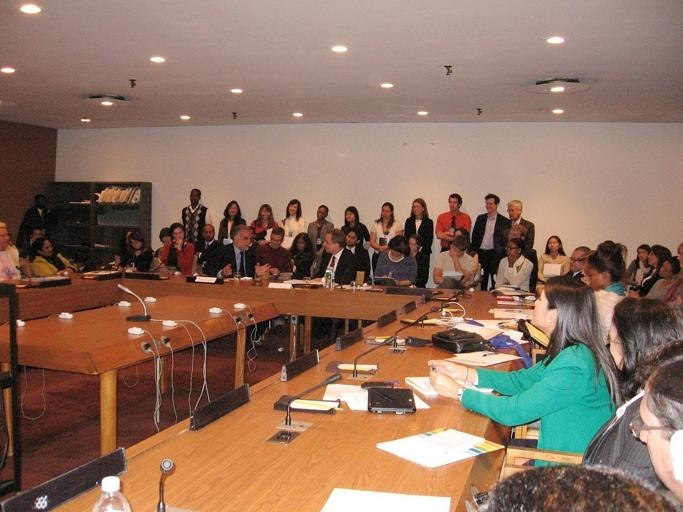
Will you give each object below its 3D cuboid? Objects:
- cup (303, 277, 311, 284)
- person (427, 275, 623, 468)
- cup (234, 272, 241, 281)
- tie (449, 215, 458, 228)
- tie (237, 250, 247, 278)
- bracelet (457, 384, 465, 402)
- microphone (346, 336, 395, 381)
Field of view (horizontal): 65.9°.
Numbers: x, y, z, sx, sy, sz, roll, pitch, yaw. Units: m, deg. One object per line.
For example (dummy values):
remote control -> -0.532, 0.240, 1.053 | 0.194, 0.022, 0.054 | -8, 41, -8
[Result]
cup -> -0.368, 0.259, 5.577 | 0.074, 0.072, 0.052 | 1, -1, -25
person -> 0.790, 0.383, 2.580 | 0.903, 1.276, 0.553 | 4, 7, 23
cup -> -1.111, 0.220, 5.559 | 0.065, 0.123, 0.065 | -1, 3, 0
tie -> 1.683, -0.506, 7.941 | 0.086, 0.162, 0.038 | 4, -7, 40
tie -> -1.146, 0.070, 6.005 | 0.184, 0.257, 0.081 | 0, -3, -25
bracelet -> 0.490, 0.562, 2.149 | 0.017, 0.040, 0.044 | 7, 27, 11
microphone -> 0.174, 0.555, 2.924 | 0.312, 0.125, 0.099 | -26, -2, -17
